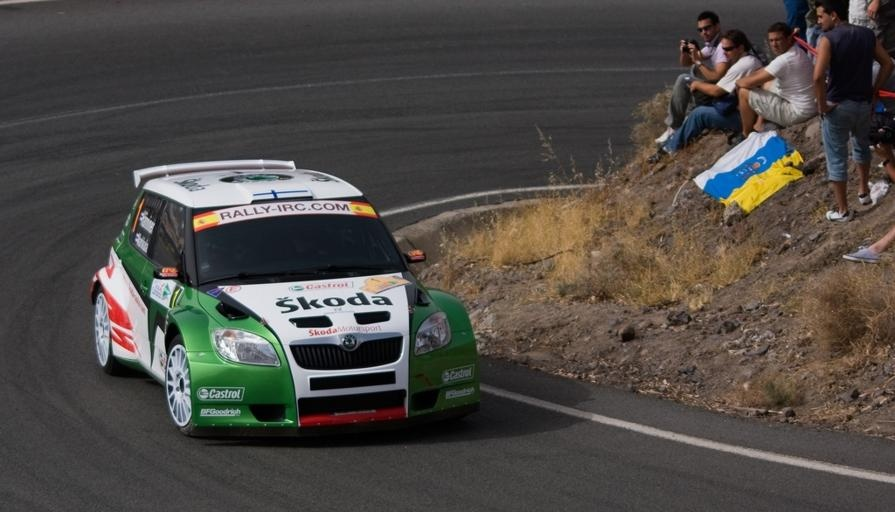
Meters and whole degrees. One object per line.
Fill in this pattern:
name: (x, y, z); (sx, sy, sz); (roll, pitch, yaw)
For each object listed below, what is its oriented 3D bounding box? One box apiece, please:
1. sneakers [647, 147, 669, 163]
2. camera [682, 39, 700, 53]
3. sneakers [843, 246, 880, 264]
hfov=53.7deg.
sneakers: (4.837, -2.282, 20.277); (0.286, 0.120, 0.463); (17, 52, 35)
camera: (5.302, -4.539, 19.260); (0.388, 0.148, 0.291); (8, 37, 31)
sneakers: (6.900, -0.021, 14.692); (0.564, 0.230, 0.210); (5, -4, 19)
